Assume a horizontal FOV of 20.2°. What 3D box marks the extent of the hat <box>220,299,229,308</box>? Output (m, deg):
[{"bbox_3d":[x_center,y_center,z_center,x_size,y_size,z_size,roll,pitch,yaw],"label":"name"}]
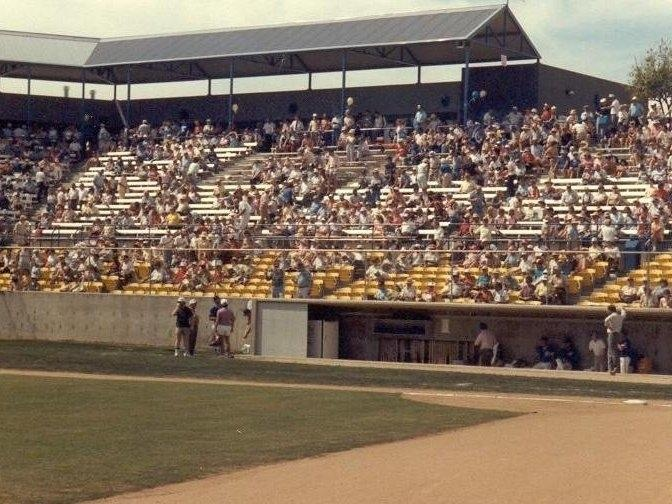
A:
[{"bbox_3d":[-3.908,1.647,64.726,0.289,0.163,0.430,-1,0,-6],"label":"hat"}]
